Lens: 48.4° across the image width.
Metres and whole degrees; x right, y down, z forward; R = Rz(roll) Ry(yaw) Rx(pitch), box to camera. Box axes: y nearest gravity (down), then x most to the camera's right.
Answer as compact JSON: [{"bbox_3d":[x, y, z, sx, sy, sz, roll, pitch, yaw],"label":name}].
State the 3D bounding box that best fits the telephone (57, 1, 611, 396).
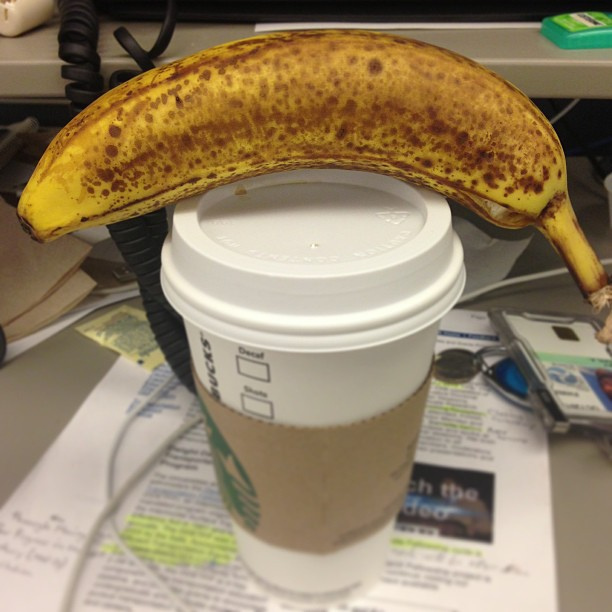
[{"bbox_3d":[0.071,-0.198,0.931,0.620,0.126,0.473,-3,61,-2],"label":"telephone"}]
